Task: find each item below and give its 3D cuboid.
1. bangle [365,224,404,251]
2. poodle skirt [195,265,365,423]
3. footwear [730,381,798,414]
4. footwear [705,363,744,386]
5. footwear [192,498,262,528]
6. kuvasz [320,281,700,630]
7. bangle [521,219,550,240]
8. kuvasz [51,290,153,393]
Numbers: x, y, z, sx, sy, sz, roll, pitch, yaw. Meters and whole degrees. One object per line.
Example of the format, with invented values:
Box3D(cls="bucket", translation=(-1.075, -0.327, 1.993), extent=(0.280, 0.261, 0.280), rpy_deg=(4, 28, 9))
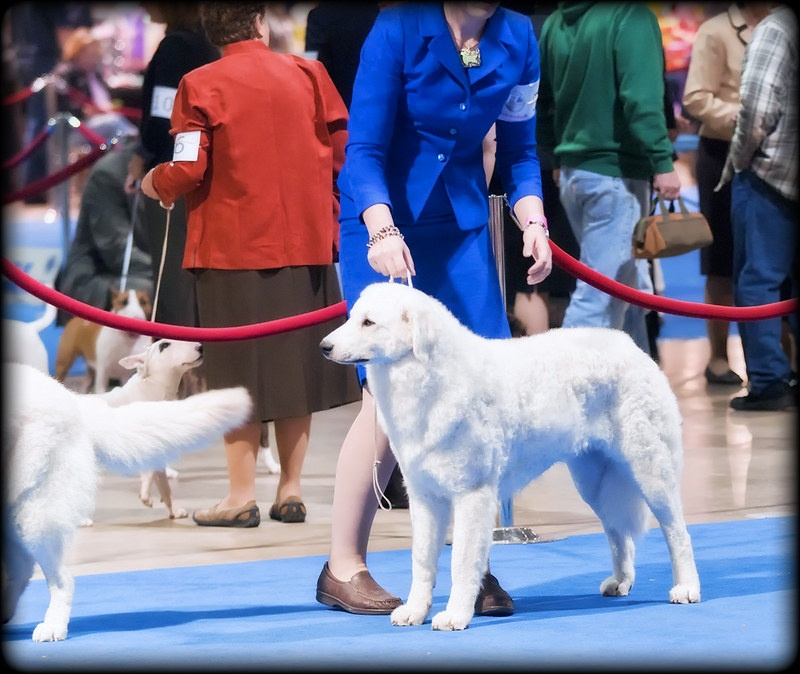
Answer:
Box3D(cls="bangle", translation=(-0.055, -0.358, 4.703), extent=(0.098, 0.036, 0.079), rpy_deg=(-36, -5, 1))
Box3D(cls="poodle skirt", translation=(-0.521, -0.014, 6.632), extent=(0.938, 0.974, 0.673), rpy_deg=(-5, 6, 5))
Box3D(cls="footwear", translation=(2.309, 0.396, 8.448), extent=(0.463, 0.217, 0.163), rpy_deg=(-2, 2, 30))
Box3D(cls="footwear", translation=(2.340, 0.298, 9.602), extent=(0.290, 0.136, 0.102), rpy_deg=(-1, -1, 31))
Box3D(cls="footwear", translation=(-0.823, 0.848, 6.361), extent=(0.297, 0.116, 0.128), rpy_deg=(1, -7, 17))
Box3D(cls="kuvasz", translation=(0.419, 0.434, 4.876), extent=(1.481, 1.231, 0.468), rpy_deg=(-1, 1, -28))
Box3D(cls="bangle", translation=(0.525, -0.404, 4.979), extent=(0.068, 0.062, 0.078), rpy_deg=(1, -2, 13))
Box3D(cls="kuvasz", translation=(-1.930, 0.040, 8.775), extent=(0.336, 0.742, 0.985), rpy_deg=(0, 2, -42))
